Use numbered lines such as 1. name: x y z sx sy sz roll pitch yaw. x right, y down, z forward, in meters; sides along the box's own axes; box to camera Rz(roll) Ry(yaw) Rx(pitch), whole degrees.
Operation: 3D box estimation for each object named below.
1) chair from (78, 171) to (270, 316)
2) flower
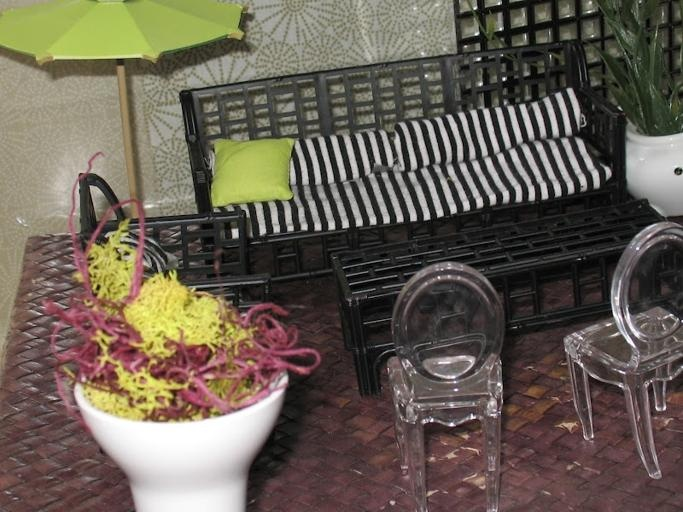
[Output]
1. chair: -0.803 -0.073 3.814 0.818 0.885 0.541 -7 42 -8
2. flower: -0.604 0.232 2.715 1.016 0.483 0.907 4 34 -6
